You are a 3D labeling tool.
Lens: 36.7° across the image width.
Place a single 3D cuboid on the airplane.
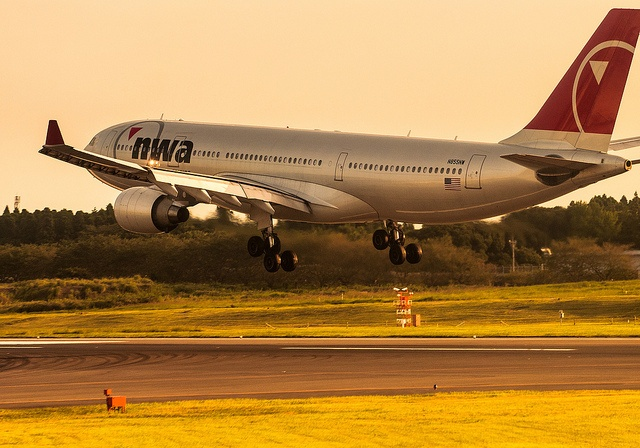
[{"bbox_3d":[1.870,-2.000,36.527,15.268,4.064,15.761,6,2,35],"label":"airplane"}]
